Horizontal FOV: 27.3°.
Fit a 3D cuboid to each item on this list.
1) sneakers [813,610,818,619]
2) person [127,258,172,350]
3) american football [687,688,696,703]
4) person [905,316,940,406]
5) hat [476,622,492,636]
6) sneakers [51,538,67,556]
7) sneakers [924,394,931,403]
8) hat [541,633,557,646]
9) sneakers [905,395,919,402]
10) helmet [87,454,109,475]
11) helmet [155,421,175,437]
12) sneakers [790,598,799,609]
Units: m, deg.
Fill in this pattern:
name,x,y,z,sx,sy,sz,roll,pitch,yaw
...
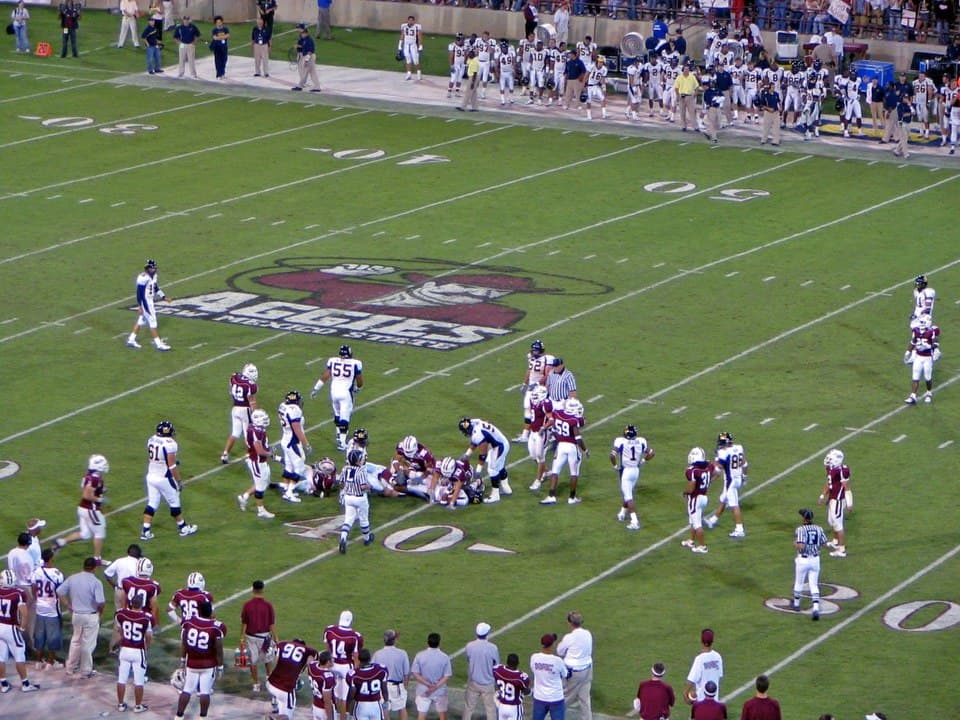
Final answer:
name,x,y,z,sx,sy,sz,roll,pitch,yaw
sneakers,4.864,3.600,28.492,0.109,0.126,0.112,3,11,5
person,-6.553,-1.093,38.986,1.157,1.842,0.610,8,53,-12
american football,2.742,4.271,25.487,0.122,0.138,0.129,-2,-20,2
person,7.971,-0.118,35.453,0.527,1.583,1.119,4,12,11
hat,0.042,3.458,25.896,0.199,0.135,0.268,4,27,10
sneakers,-6.287,2.700,29.435,0.251,0.192,0.540,-17,-8,-20
sneakers,8.051,0.607,35.370,0.086,0.089,0.217,2,20,11
hat,0.902,3.548,25.710,0.179,0.128,0.243,6,31,19
sneakers,7.754,0.610,35.284,0.241,0.158,0.079,8,35,21
helmet,-5.873,1.542,30.265,0.299,0.332,0.318,8,-21,-3
helmet,-4.845,0.982,30.356,0.244,0.283,0.287,1,40,-3
sneakers,4.607,3.483,28.789,0.090,0.175,0.191,0,22,-7
